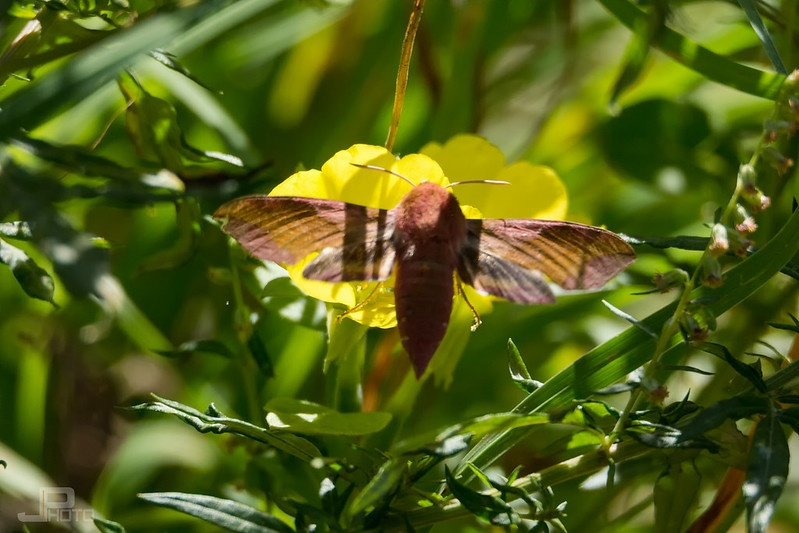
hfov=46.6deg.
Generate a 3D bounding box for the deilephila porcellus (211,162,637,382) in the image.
[{"bbox_3d":[0.017,-0.013,0.726,0.299,0.089,0.173,7,38,-4],"label":"deilephila porcellus"}]
